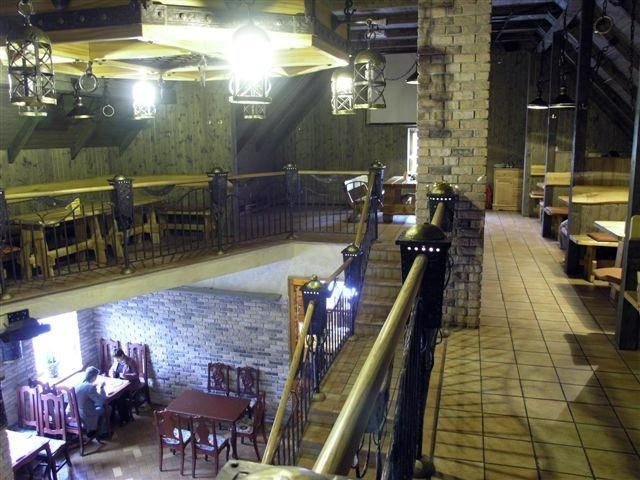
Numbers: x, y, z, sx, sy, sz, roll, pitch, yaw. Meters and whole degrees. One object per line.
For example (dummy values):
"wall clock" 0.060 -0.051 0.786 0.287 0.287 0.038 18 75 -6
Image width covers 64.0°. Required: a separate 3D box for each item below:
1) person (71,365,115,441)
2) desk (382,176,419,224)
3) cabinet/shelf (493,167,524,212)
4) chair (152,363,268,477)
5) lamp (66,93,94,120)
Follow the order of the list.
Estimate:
"person" -4.054 2.945 9.130 0.560 1.312 0.668 2 1 31
"desk" 1.729 -0.946 11.238 0.666 0.908 1.815 2 9 9
"cabinet/shelf" 5.071 -1.408 13.733 0.978 1.453 0.707 1 13 10
"chair" -1.941 3.127 9.036 1.189 0.950 1.280 4 18 10
"lamp" -3.362 -1.883 7.186 0.250 0.284 0.448 -5 11 -34
